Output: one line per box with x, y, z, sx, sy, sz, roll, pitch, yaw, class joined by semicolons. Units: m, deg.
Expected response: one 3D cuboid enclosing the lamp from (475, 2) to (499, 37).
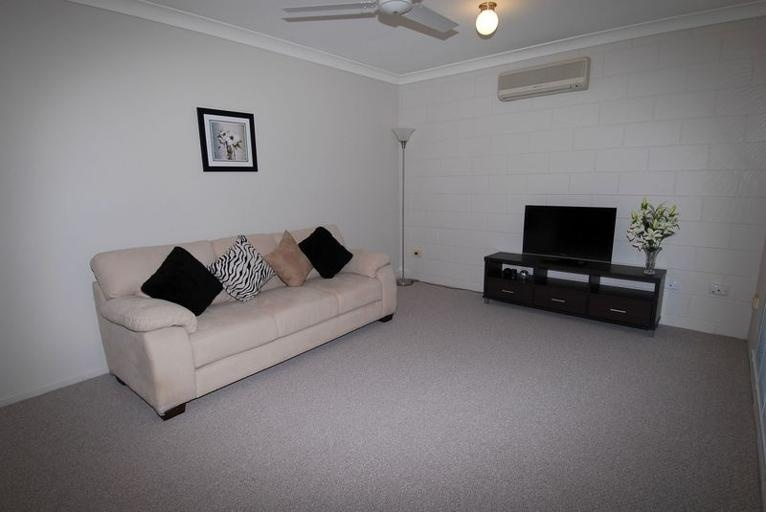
1.022;-2.259;4.692;0.213;0.349;0.765;4;11;13;lamp

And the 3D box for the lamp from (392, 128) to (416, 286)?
0.297;-0.680;6.836;0.363;2.149;0.476;2;11;1;lamp

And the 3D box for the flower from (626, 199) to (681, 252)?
2.838;-0.328;5.288;0.575;0.677;0.509;1;3;-37;flower

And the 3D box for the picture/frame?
-1.688;-1.239;5.127;0.045;0.690;0.691;5;11;42;picture/frame

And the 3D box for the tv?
2.188;-0.208;5.533;0.712;0.484;0.185;8;13;35;tv

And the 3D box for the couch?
-1.235;0.523;4.958;2.829;1.278;1.091;-7;14;-39;couch
